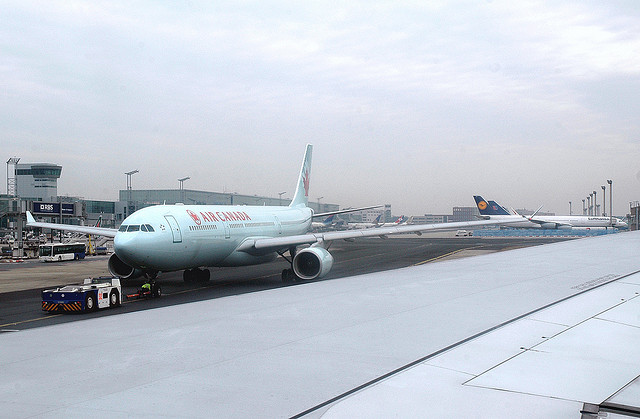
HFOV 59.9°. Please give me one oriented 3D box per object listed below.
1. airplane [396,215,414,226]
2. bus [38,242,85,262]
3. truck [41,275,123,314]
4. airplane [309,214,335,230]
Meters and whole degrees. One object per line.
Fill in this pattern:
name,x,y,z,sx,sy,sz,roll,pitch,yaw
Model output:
airplane,19.595,2.675,130.529,5.198,1.733,4.431,-6,5,-37
bus,-23.838,4.006,51.873,1.594,1.244,4.882,-4,-5,15
truck,-9.755,3.514,23.358,2.127,0.970,2.730,-2,0,16
airplane,0.456,2.710,111.175,4.337,1.602,4.547,-1,0,34
